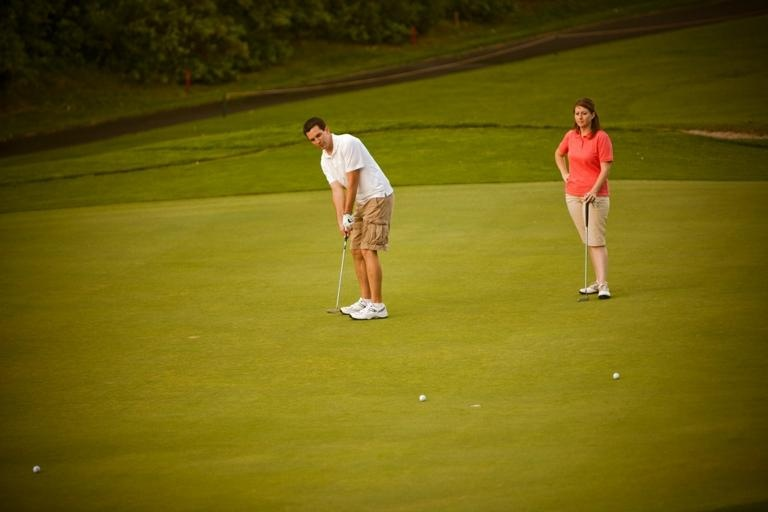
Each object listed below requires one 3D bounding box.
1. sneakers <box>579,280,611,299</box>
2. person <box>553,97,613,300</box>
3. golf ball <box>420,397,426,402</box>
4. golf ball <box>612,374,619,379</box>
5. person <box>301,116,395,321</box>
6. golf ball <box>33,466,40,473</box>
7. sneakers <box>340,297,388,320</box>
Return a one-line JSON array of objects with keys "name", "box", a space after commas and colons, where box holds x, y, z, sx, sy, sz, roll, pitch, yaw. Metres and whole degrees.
[{"name": "sneakers", "box": [2.453, 0.394, 12.341, 0.431, 0.160, 0.149, 2, 7, 21]}, {"name": "person", "box": [2.331, -0.626, 12.067, 0.557, 2.157, 0.944, -6, -13, 1]}, {"name": "golf ball", "box": [0.370, 1.382, 10.320, 0.063, 0.062, 0.036, -5, -13, 0]}, {"name": "golf ball", "box": [2.316, 1.205, 10.621, 0.061, 0.051, 0.032, -18, -40, 24]}, {"name": "person", "box": [-0.319, -0.393, 11.857, 0.867, 2.186, 1.124, -6, -13, 1]}, {"name": "golf ball", "box": [-3.174, 1.940, 9.698, 0.072, 0.071, 0.062, -1, -13, -17]}, {"name": "sneakers", "box": [-0.218, 0.597, 11.970, 0.435, 0.177, 0.238, 2, -1, 5]}]
